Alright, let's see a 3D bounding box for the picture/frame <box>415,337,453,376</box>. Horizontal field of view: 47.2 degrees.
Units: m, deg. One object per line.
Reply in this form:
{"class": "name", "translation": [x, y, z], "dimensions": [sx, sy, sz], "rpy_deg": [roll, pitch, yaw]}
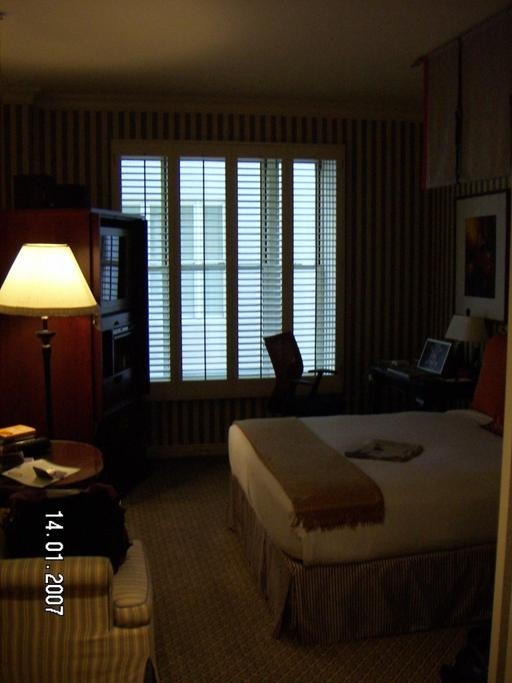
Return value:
{"class": "picture/frame", "translation": [1.266, 0.116, 4.165], "dimensions": [0.173, 0.292, 0.261], "rpy_deg": [15, 10, -17]}

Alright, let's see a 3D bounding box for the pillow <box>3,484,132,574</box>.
{"class": "pillow", "translation": [-0.502, 0.552, 1.568], "dimensions": [0.253, 0.319, 0.219], "rpy_deg": [18, -25, -30]}

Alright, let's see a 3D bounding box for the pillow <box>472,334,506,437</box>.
{"class": "pillow", "translation": [1.288, 0.253, 3.248], "dimensions": [0.073, 0.483, 0.293], "rpy_deg": [4, 8, 0]}

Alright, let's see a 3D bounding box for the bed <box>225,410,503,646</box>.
{"class": "bed", "translation": [0.479, 0.760, 2.423], "dimensions": [0.702, 0.443, 0.873], "rpy_deg": [0, 6, -11]}

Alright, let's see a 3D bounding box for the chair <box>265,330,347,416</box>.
{"class": "chair", "translation": [0.388, 0.246, 4.575], "dimensions": [0.523, 1.080, 0.517], "rpy_deg": [-4, -2, 42]}
